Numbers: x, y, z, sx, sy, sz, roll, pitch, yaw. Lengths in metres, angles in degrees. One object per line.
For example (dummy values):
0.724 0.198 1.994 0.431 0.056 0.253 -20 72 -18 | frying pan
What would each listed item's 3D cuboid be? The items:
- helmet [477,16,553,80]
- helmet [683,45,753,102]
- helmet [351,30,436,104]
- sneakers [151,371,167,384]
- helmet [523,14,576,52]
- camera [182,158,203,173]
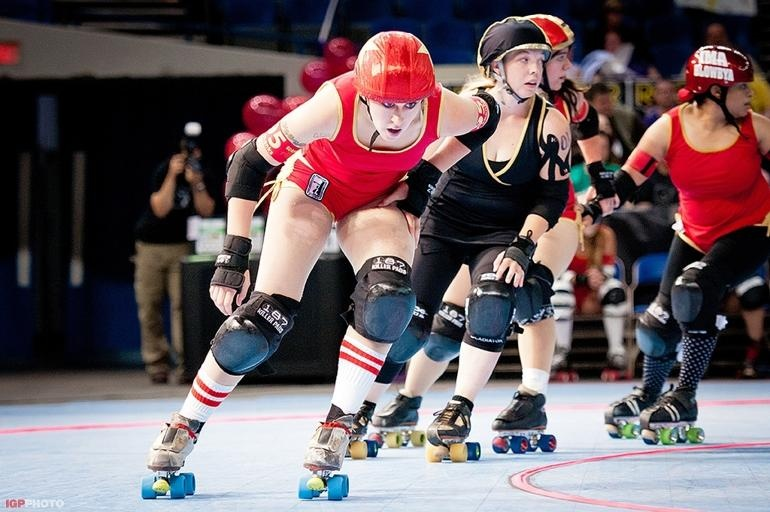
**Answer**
0.868 -1.443 6.682 0.426 0.383 0.341 -26 -9 27 | helmet
2.397 -1.315 7.092 0.432 0.374 0.353 -3 4 22 | helmet
0.057 -1.107 5.722 0.399 0.290 0.418 -1 20 -11 | helmet
-2.373 1.286 10.343 0.126 0.099 0.125 -1 -3 6 | sneakers
1.177 -1.559 7.011 0.300 0.134 0.314 22 16 4 | helmet
-2.010 -0.968 10.343 0.156 0.119 0.047 39 -32 -22 | camera
